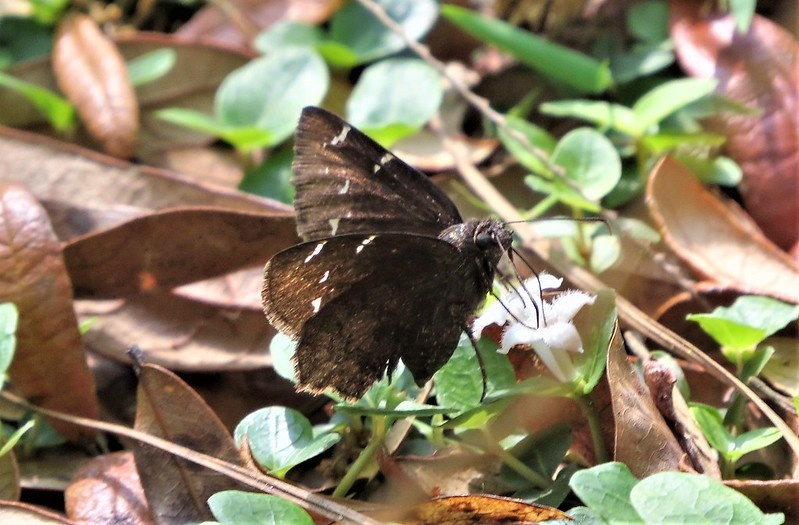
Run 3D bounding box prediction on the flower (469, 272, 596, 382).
[{"bbox_3d":[0.459,0.200,2.344,0.363,0.124,0.345,-26,84,1],"label":"flower"}]
